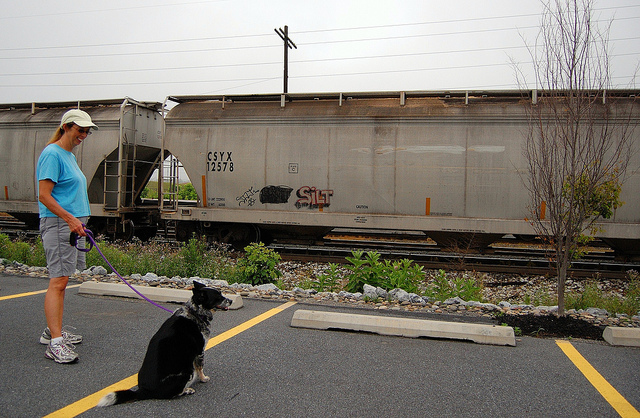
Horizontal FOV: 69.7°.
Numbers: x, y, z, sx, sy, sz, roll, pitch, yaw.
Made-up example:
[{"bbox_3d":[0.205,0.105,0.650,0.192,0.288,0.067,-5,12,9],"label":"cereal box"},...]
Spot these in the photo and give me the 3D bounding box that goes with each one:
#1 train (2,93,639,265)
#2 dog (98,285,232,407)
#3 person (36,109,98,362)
[{"bbox_3d":[-0.598,-0.940,13.966,18.514,5.142,1.879,4,12,11],"label":"train"},{"bbox_3d":[-1.943,1.795,5.822,0.663,1.241,1.800,5,10,34],"label":"dog"},{"bbox_3d":[-3.585,0.324,6.508,0.755,3.374,1.153,-3,12,-19],"label":"person"}]
